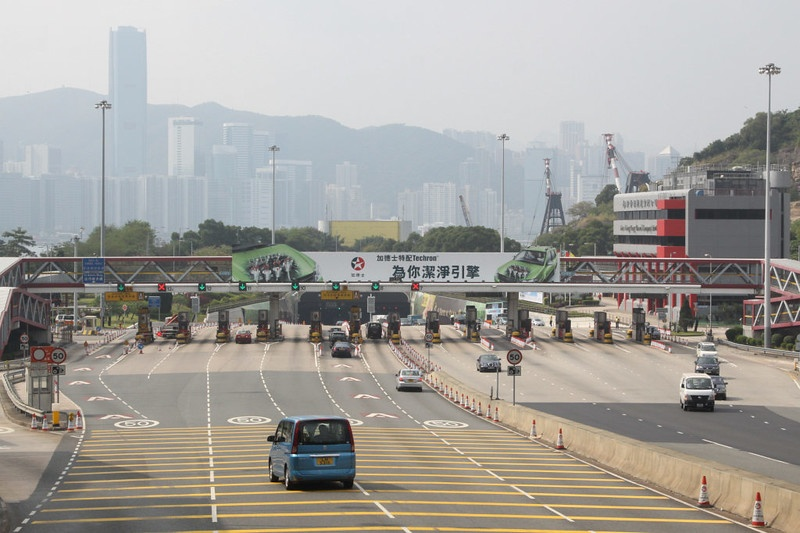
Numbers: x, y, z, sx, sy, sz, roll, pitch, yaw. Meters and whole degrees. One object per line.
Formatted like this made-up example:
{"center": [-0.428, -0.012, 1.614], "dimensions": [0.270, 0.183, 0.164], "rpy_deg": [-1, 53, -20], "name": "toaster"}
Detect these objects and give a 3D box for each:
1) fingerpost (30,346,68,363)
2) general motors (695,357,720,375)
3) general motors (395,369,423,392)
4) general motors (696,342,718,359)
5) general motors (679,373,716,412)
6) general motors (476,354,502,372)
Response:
{"center": [-27.873, 7.188, 109.425], "dimensions": [2.080, 1.353, 2.023], "rpy_deg": [3, -3, -38], "name": "fingerpost"}
{"center": [29.751, 9.851, 133.164], "dimensions": [1.977, 1.749, 3.151], "rpy_deg": [-2, 1, 20], "name": "general motors"}
{"center": [1.009, 10.773, 128.060], "dimensions": [2.332, 2.040, 1.403], "rpy_deg": [-2, 1, -6], "name": "general motors"}
{"center": [32.186, 8.843, 143.937], "dimensions": [1.792, 1.553, 3.002], "rpy_deg": [-1, -8, 3], "name": "general motors"}
{"center": [26.477, 10.993, 121.611], "dimensions": [3.138, 2.916, 5.636], "rpy_deg": [-1, 3, 14], "name": "general motors"}
{"center": [9.058, 10.065, 140.073], "dimensions": [2.073, 1.622, 3.096], "rpy_deg": [-2, 1, -9], "name": "general motors"}
